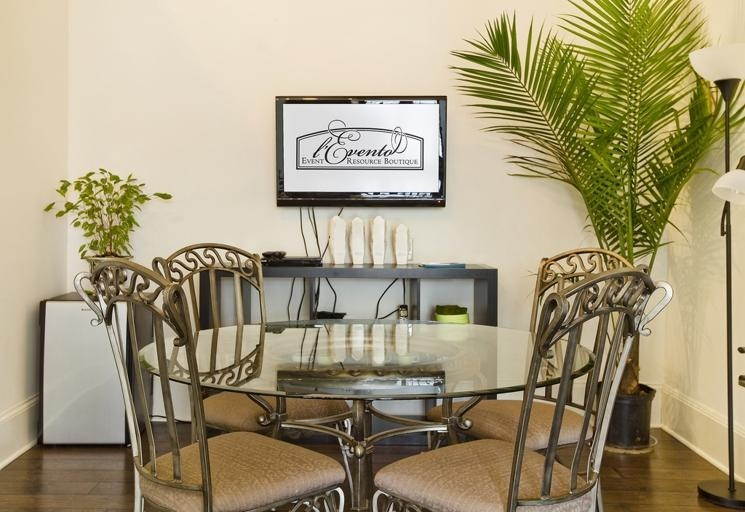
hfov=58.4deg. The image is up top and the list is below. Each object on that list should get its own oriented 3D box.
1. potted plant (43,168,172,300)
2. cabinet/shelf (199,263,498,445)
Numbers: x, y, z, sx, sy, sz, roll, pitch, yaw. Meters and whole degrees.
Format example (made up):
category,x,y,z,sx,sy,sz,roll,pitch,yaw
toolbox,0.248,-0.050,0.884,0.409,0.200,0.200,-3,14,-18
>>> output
category,x,y,z,sx,sy,sz,roll,pitch,yaw
potted plant,-1.832,-0.098,4.677,0.921,0.892,0.624,1,-3,-4
cabinet/shelf,-0.140,0.521,3.523,1.202,0.699,0.355,0,-1,-4
